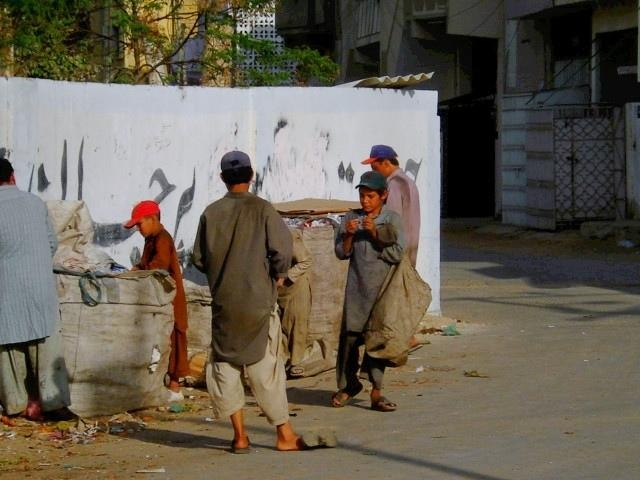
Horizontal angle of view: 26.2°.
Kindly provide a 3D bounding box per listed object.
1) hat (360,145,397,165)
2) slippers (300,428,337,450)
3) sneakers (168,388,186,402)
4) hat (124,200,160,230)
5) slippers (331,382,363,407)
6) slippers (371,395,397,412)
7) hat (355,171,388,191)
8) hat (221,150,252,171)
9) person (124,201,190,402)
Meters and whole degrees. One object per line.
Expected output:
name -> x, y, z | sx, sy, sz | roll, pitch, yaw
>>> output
hat -> 0.695, -0.978, 15.802 | 0.345, 0.179, 0.226 | 0, -1, -4
slippers -> -0.017, 2.008, 13.915 | 0.268, 0.128, 0.208 | -3, -6, -21
sneakers -> -1.611, 1.712, 15.189 | 0.114, 0.105, 0.139 | 1, -9, -17
hat -> -2.034, -0.287, 15.401 | 0.419, 0.256, 0.276 | -24, 10, -18
slippers -> 0.289, 1.724, 14.990 | 0.419, 0.113, 0.173 | -43, 8, 14
slippers -> 0.701, 1.752, 14.783 | 0.136, 0.118, 0.262 | 1, -3, -43
hat -> 0.579, -0.627, 14.785 | 0.200, 0.158, 0.272 | 6, -7, 45
hat -> -0.859, -0.817, 14.038 | 0.256, 0.209, 0.420 | -1, 7, 3
person -> -1.752, 0.666, 15.302 | 0.663, 2.182, 0.478 | 4, 11, 38
